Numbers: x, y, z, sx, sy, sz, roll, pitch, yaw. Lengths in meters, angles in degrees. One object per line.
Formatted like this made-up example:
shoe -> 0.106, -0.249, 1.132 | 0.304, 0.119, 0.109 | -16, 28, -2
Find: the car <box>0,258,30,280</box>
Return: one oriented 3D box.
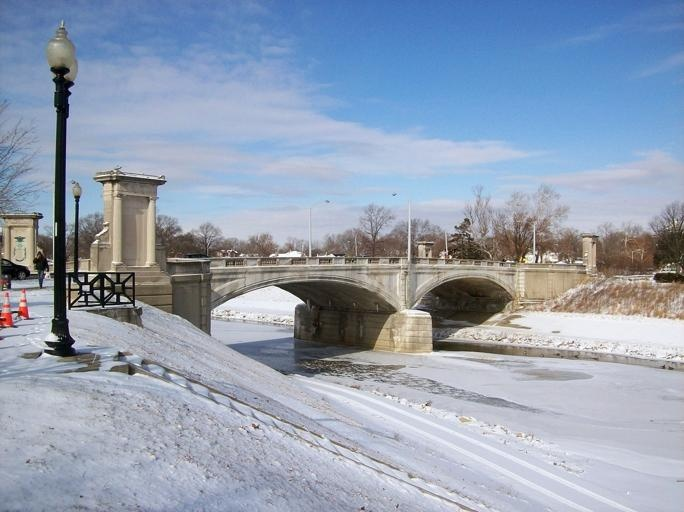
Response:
car -> -16.933, 0.659, 33.813 | 2.312, 1.012, 1.125 | -1, 3, -25
